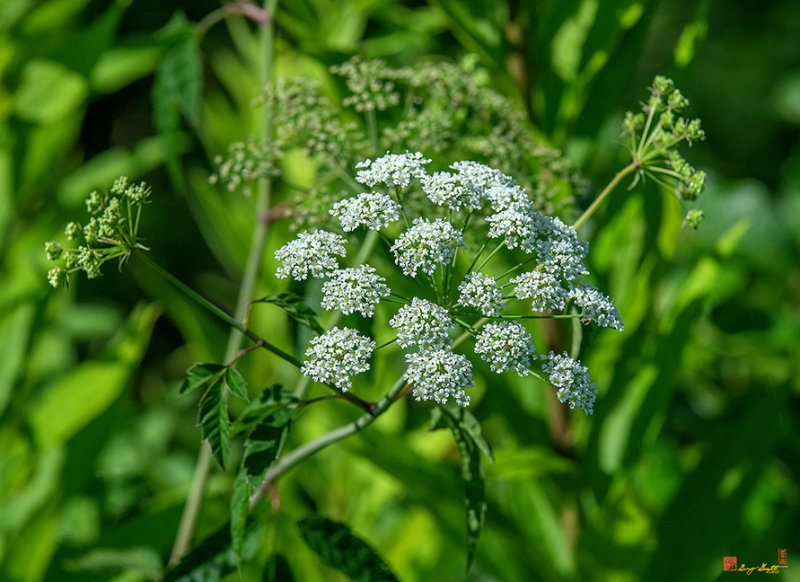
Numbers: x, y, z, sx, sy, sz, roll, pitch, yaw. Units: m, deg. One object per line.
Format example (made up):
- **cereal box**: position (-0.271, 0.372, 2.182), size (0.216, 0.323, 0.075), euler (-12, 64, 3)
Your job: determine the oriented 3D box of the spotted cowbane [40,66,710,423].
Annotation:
- **spotted cowbane**: position (-0.006, -0.096, 1.552), size (1.042, 0.509, 0.766), euler (7, 80, 2)
